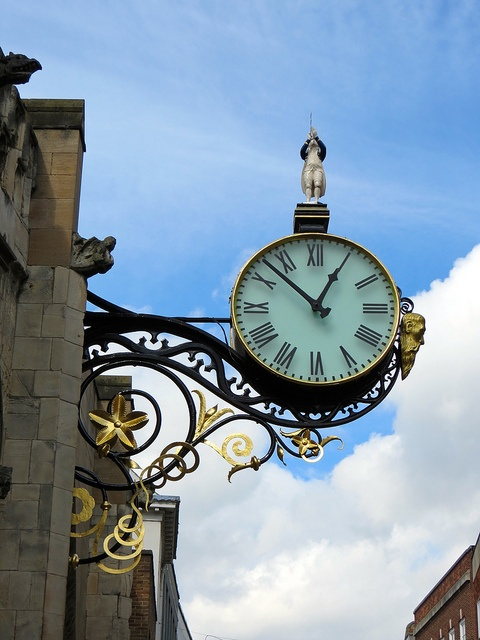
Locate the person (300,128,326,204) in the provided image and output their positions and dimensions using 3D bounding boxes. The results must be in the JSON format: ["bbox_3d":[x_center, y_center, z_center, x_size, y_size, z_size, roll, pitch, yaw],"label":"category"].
[{"bbox_3d":[1.064,-2.178,20.933,0.303,1.101,0.284,2,-19,0],"label":"person"}]
